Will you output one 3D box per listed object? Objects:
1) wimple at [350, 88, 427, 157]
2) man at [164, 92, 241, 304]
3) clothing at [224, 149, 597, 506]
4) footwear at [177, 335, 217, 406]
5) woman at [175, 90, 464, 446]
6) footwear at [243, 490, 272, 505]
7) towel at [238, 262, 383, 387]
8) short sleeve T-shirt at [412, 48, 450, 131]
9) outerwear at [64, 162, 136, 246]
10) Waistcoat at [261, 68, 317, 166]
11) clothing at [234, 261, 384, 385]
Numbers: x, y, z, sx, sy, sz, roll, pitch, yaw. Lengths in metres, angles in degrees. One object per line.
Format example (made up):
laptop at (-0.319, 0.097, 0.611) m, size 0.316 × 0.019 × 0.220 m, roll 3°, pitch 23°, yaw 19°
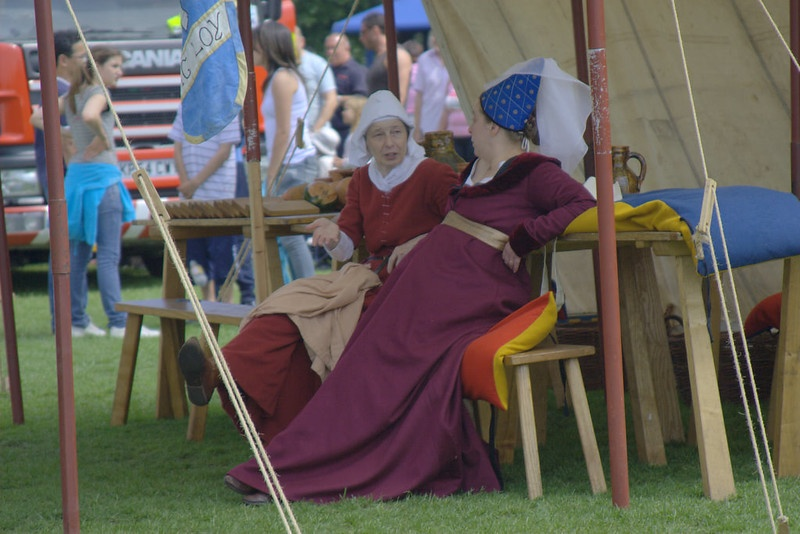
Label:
wimple at (-0.073, -0.748, 9.808) m, size 0.448 × 0.474 × 0.344 m, roll -7°, pitch 6°, yaw -4°
man at (-1.349, -0.592, 12.150) m, size 0.564 × 1.828 × 0.414 m, roll -3°, pitch 39°, yaw -3°
clothing at (-0.032, 0.420, 10.317) m, size 1.922 × 2.467 × 1.521 m, roll 2°, pitch -4°, yaw -10°
footwear at (-1.098, 0.582, 9.372) m, size 0.141 × 0.456 × 0.177 m, roll 0°, pitch 5°, yaw 17°
woman at (-0.416, 0.038, 9.750) m, size 0.738 × 1.851 × 2.095 m, roll 11°, pitch 21°, yaw 38°
footwear at (-0.756, 1.252, 9.214) m, size 0.157 × 0.049 × 0.082 m, roll -3°, pitch -1°, yaw 29°
towel at (-0.422, 0.235, 9.657) m, size 0.747 × 0.257 × 0.633 m, roll -17°, pitch 43°, yaw -30°
short sleeve T-shirt at (0.277, -1.473, 14.381) m, size 0.322 × 0.940 × 0.196 m, roll -26°, pitch 50°, yaw -24°
outerwear at (-2.200, -0.501, 12.084) m, size 0.271 × 0.553 × 0.529 m, roll 8°, pitch 22°, yaw 13°
Waistcoat at (-0.651, -1.034, 11.905) m, size 0.304 × 0.602 × 0.442 m, roll -11°, pitch 32°, yaw 6°
clothing at (-0.435, 0.244, 9.656) m, size 0.871 × 0.309 × 0.712 m, roll -22°, pitch 39°, yaw -30°
